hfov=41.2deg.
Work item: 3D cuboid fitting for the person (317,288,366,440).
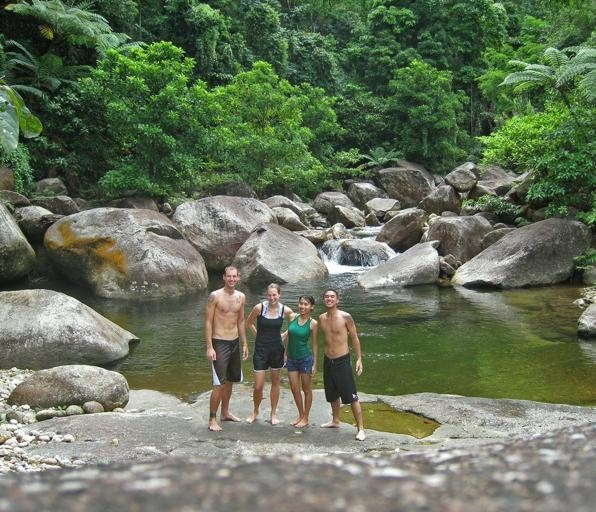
[{"bbox_3d":[0.678,1.650,12.555,0.677,2.117,1.103,-1,14,1],"label":"person"}]

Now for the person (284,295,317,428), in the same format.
[{"bbox_3d":[0.035,1.632,12.778,0.537,1.992,0.999,-2,14,-1],"label":"person"}]

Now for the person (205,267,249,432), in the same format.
[{"bbox_3d":[-1.176,1.430,12.783,0.669,2.369,1.169,-3,14,-5],"label":"person"}]
